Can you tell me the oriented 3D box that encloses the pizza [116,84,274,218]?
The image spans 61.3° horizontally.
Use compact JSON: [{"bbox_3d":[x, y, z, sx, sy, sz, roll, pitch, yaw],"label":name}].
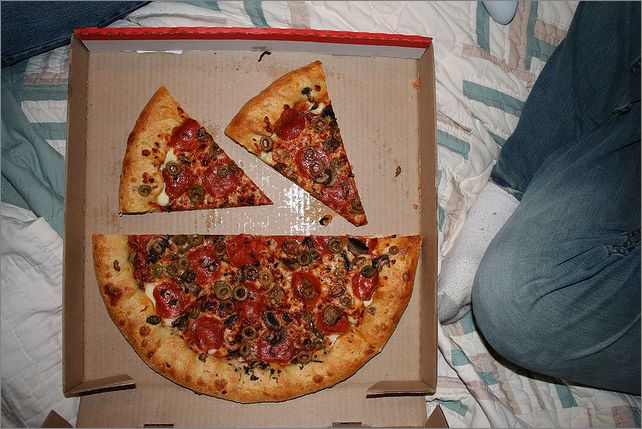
[{"bbox_3d":[-1.036,-0.499,4.175,1.003,0.251,0.905,-1,75,-7],"label":"pizza"}]
